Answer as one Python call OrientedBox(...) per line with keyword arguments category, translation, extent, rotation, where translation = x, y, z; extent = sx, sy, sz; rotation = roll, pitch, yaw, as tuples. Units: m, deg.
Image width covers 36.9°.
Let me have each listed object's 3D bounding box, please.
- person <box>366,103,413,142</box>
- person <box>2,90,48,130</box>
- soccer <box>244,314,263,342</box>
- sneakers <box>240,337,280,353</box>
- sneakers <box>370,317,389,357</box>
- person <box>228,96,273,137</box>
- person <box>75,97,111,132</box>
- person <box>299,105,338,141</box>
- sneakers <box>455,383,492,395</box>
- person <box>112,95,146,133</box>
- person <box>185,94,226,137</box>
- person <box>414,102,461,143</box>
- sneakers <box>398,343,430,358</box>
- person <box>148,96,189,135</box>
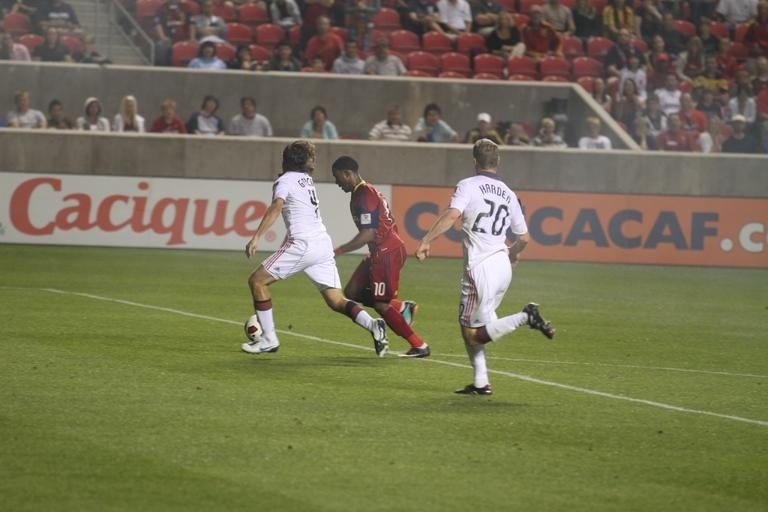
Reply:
OrientedBox(category="person", translation=(0.209, -3.273, 27.068), extent=(1.452, 0.898, 0.722), rotation=(1, 17, -16))
OrientedBox(category="person", translation=(-8.331, -3.311, 26.377), extent=(0.915, 1.047, 1.115), rotation=(-1, 2, -31))
OrientedBox(category="soccer", translation=(-1.919, 1.032, 16.577), extent=(0.363, 0.323, 0.263), rotation=(-10, -10, 3))
OrientedBox(category="sneakers", translation=(-1.763, 1.266, 16.440), extent=(0.595, 0.271, 0.205), rotation=(2, 0, -7))
OrientedBox(category="sneakers", translation=(-0.040, 1.138, 16.266), extent=(0.214, 0.518, 0.247), rotation=(-15, 18, -21))
OrientedBox(category="person", translation=(-3.077, -3.149, 26.843), extent=(1.114, 0.938, 0.595), rotation=(1, 10, 6))
OrientedBox(category="person", translation=(-6.691, -3.159, 26.375), extent=(0.838, 0.793, 0.561), rotation=(0, -1, -18))
OrientedBox(category="person", translation=(-1.516, -3.103, 26.955), extent=(0.889, 0.657, 0.857), rotation=(-1, 7, -3))
OrientedBox(category="sneakers", translation=(1.196, 1.757, 15.344), extent=(0.471, 0.154, 0.160), rotation=(3, -1, 8))
OrientedBox(category="person", translation=(-5.854, -3.208, 26.194), extent=(0.693, 0.779, 0.676), rotation=(-1, 7, -12))
OrientedBox(category="person", translation=(-4.066, -3.133, 26.337), extent=(0.949, 1.008, 0.693), rotation=(0, -2, -35))
OrientedBox(category="person", translation=(1.177, -2.986, 27.079), extent=(0.946, 1.125, 1.179), rotation=(-4, 15, -14))
OrientedBox(category="sneakers", translation=(0.426, 1.366, 16.540), extent=(0.483, 0.182, 0.156), rotation=(0, -2, 2))
OrientedBox(category="person", translation=(-4.932, -3.130, 26.269), extent=(0.932, 0.740, 0.515), rotation=(2, 3, -20))
